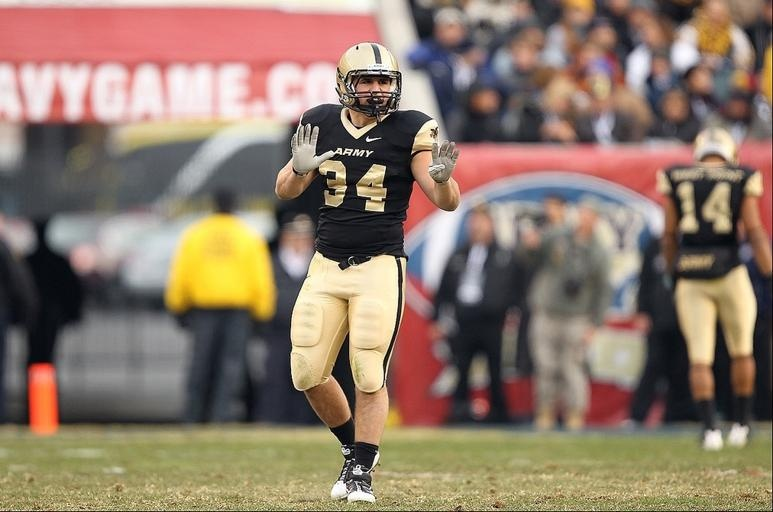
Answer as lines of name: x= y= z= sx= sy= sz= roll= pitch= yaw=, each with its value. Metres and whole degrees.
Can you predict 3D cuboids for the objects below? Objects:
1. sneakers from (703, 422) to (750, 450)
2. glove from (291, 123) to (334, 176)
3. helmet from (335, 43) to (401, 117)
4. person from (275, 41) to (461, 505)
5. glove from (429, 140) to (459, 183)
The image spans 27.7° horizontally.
sneakers: x=2.931 y=1.571 z=13.583 sx=0.377 sy=0.231 sz=0.125 roll=-13 pitch=11 yaw=-11
glove: x=-0.532 y=-0.767 z=11.439 sx=0.260 sy=0.355 sz=0.149 roll=23 pitch=7 yaw=5
helmet: x=-0.104 y=-1.322 z=11.667 sx=0.483 sy=0.516 sz=0.620 roll=-3 pitch=11 yaw=-19
person: x=-0.219 y=0.118 z=11.464 sx=1.125 sy=3.340 sz=0.560 roll=1 pitch=-7 yaw=-5
glove: x=0.401 y=-0.668 z=11.250 sx=0.203 sy=0.327 sz=0.109 roll=-3 pitch=41 yaw=-15
